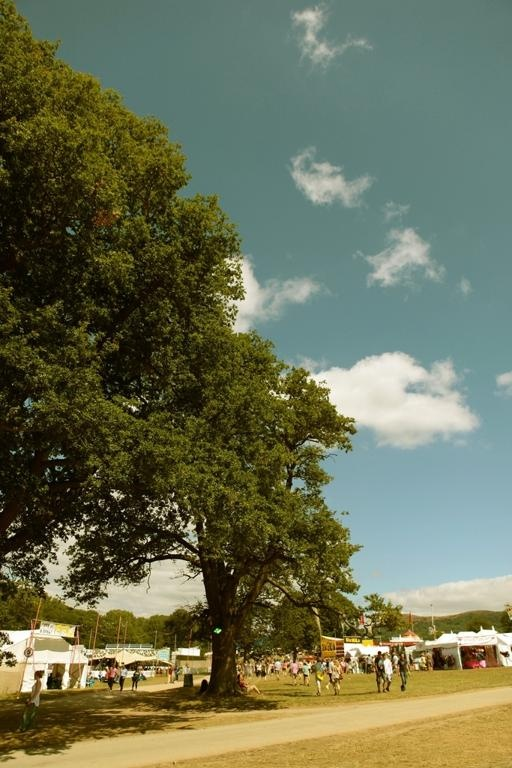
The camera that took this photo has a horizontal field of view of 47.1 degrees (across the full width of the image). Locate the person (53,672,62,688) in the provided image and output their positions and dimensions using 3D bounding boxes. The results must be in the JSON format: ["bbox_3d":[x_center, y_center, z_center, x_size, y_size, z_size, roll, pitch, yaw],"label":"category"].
[{"bbox_3d":[-12.967,19.401,38.415,0.704,0.981,0.710,2,-33,-8],"label":"person"}]

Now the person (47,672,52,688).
[{"bbox_3d":[-13.223,19.099,37.835,0.337,0.907,1.093,6,-24,-16],"label":"person"}]
